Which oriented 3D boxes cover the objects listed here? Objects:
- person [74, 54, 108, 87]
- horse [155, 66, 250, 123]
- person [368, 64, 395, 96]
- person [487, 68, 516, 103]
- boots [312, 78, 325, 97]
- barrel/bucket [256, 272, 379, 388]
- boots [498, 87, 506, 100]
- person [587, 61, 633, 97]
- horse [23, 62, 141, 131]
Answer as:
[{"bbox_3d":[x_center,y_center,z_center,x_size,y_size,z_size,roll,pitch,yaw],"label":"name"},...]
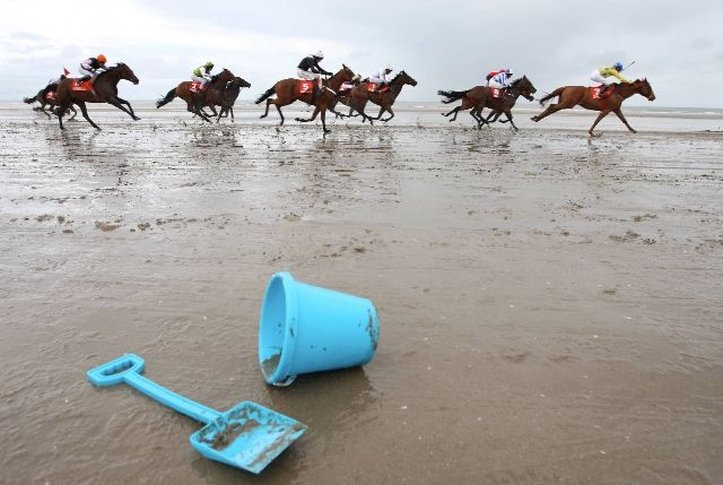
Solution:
[{"bbox_3d":[-9.779,-6.256,18.586,1.010,1.005,0.759,-8,20,-24],"label":"person"},{"bbox_3d":[-7.098,-6.751,23.669,3.230,2.231,3.888,-6,18,-19],"label":"horse"},{"bbox_3d":[0.741,-7.024,22.272,0.834,1.007,0.651,0,19,1],"label":"person"},{"bbox_3d":[5.457,-6.350,20.576,0.925,1.102,1.127,4,18,11],"label":"person"},{"bbox_3d":[-1.461,-5.725,18.971,0.666,0.588,0.442,-1,22,-24],"label":"boots"},{"bbox_3d":[-0.437,0.770,4.693,1.017,0.972,1.011,6,15,-2],"label":"barrel/bucket"},{"bbox_3d":[5.609,-6.018,20.722,0.437,0.438,0.198,5,20,14],"label":"boots"},{"bbox_3d":[8.971,-5.973,18.757,1.505,1.091,0.572,13,19,7],"label":"person"},{"bbox_3d":[-9.967,-5.714,19.292,2.817,1.890,1.052,4,20,11],"label":"horse"}]
